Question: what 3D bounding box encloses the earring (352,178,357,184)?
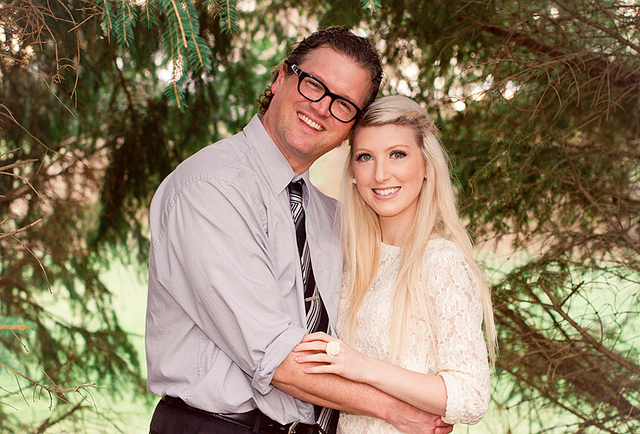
[{"bbox_3d":[0.214,-0.237,4.171,0.034,0.035,0.011,2,-14,6],"label":"earring"}]
